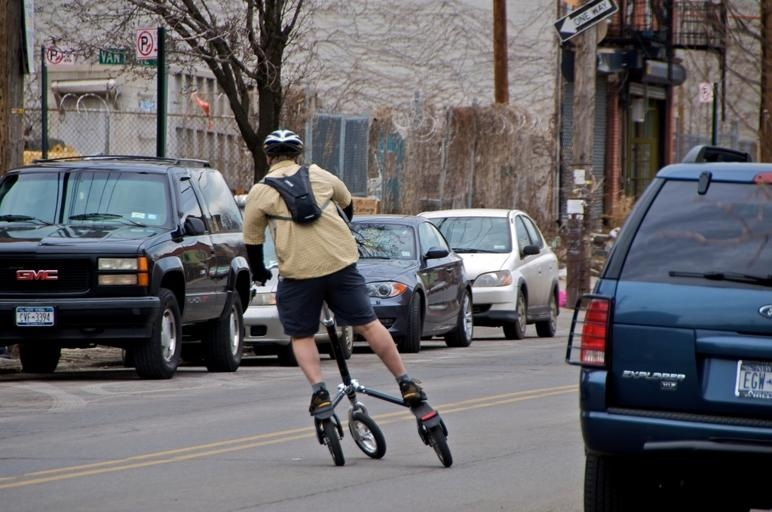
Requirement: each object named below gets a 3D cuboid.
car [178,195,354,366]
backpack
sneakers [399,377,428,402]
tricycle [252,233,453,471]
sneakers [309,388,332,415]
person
[{"bbox_3d":[-1.447,0.651,15.181,1.558,1.645,3.343,-1,-2,12],"label":"car"},{"bbox_3d":[-0.726,-0.497,8.296,0.393,0.445,0.174,-23,-13,-13],"label":"backpack"},{"bbox_3d":[0.204,1.061,8.164,0.192,0.191,0.236,-1,3,-17],"label":"sneakers"},{"bbox_3d":[-0.251,1.102,8.797,1.043,1.187,1.910,-15,11,-28],"label":"tricycle"},{"bbox_3d":[-0.521,1.166,8.203,0.176,0.225,0.145,-1,3,-5],"label":"sneakers"},{"bbox_3d":[-0.521,0.240,8.374,1.314,2.058,0.675,-1,3,-4],"label":"person"}]
